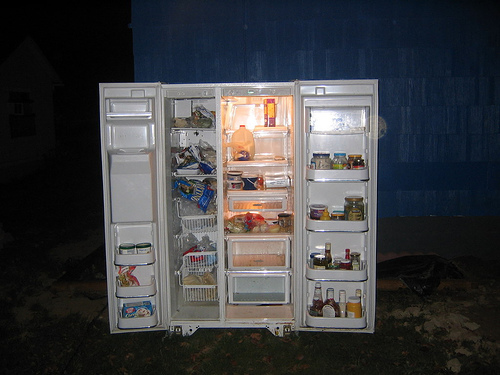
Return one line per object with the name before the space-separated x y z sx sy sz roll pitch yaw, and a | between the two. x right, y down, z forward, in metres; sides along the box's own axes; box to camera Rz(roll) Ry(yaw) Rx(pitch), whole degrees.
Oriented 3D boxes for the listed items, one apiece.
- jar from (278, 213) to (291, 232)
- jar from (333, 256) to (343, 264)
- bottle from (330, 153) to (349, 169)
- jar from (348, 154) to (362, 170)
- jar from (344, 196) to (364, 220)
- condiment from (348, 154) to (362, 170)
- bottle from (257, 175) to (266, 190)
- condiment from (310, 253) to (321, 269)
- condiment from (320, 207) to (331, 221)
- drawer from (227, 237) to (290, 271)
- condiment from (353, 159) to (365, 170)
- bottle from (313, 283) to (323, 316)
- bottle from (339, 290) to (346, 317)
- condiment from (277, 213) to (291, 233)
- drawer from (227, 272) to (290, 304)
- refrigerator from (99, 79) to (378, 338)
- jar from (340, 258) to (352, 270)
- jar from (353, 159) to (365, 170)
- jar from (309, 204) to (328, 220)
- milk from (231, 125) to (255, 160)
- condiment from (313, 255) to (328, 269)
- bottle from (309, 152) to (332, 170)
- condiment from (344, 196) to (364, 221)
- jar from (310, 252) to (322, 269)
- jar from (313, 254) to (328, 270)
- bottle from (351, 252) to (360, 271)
jar | 0.312 0.316 3.929 0.128 0.151 0.132 -1 6 0
jar | 0.763 0.629 3.708 0.042 0.041 0.043 -2 3 0
bottle | 0.760 -0.223 3.577 0.120 0.125 0.126 2 3 0
jar | 0.884 -0.223 3.572 0.105 0.106 0.110 -1 7 0
jar | 0.888 0.171 3.605 0.185 0.210 0.146 -1 0 44
condiment | 0.904 -0.223 3.620 0.115 0.116 0.121 2 7 23
bottle | 0.097 -0.048 3.928 0.094 0.171 0.110 -3 4 12
condiment | 0.544 0.637 3.730 0.097 0.165 0.095 -2 5 -24
condiment | 0.646 0.222 3.685 0.093 0.137 0.097 5 5 25
drawer | 0.103 0.564 3.972 0.599 0.308 0.449 -1 8 6
condiment | 0.922 -0.197 3.548 0.079 0.063 0.083 0 2 1
bottle | 0.588 0.962 3.672 0.080 0.287 0.046 -2 8 0
bottle | 0.801 0.999 3.661 0.056 0.234 0.038 -1 8 8
condiment | 0.313 0.316 3.856 0.135 0.157 0.137 3 7 43
drawer | 0.073 0.890 3.889 0.564 0.295 0.320 0 -1 0
refrigerator | -0.082 0.174 3.842 2.371 2.258 0.654 -2 8 2
jar | 0.815 0.654 3.622 0.079 0.081 0.083 -1 7 0
jar | 0.919 -0.196 3.573 0.098 0.083 0.094 -2 9 0
jar | 0.573 0.203 3.652 0.113 0.092 0.119 0 4 0
milk | -0.040 -0.434 3.928 0.244 0.401 0.245 0 1 7
condiment | 0.607 0.635 3.634 0.103 0.105 0.107 -1 -1 23
bottle | 0.606 -0.229 3.584 0.138 0.144 0.146 1 4 10
condiment | 0.882 0.173 3.606 0.176 0.267 0.183 0 0 -39
jar | 0.587 0.638 3.728 0.107 0.126 0.112 1 1 0
jar | 0.604 0.629 3.637 0.104 0.107 0.108 -1 1 0
bottle | 0.911 0.633 3.651 0.075 0.134 0.147 0 9 14
